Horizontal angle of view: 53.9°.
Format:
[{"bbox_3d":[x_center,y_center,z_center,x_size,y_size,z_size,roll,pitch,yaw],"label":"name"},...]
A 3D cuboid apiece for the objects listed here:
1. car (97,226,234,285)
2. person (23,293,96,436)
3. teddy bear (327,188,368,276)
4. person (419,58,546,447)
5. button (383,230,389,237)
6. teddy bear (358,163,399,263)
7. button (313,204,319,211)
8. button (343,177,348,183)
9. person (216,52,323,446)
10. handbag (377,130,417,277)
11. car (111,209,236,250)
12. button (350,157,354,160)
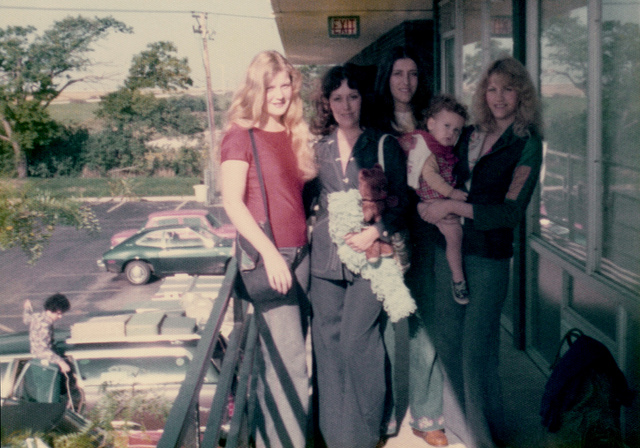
[{"bbox_3d":[-4.246,0.869,17.604,3.846,1.710,0.777,0,19,18],"label":"car"},{"bbox_3d":[-4.599,2.507,11.055,0.781,0.917,2.202,-4,42,-44],"label":"person"},{"bbox_3d":[0.185,0.042,4.219,0.249,0.525,0.212,-6,17,3],"label":"teddy bear"},{"bbox_3d":[1.110,0.233,4.365,0.653,2.635,0.911,9,23,41],"label":"person"},{"bbox_3d":[0.438,0.062,4.218,0.034,0.034,0.009,10,-7,-16],"label":"button"},{"bbox_3d":[0.335,-0.086,4.282,0.416,0.590,0.343,4,18,-5],"label":"teddy bear"},{"bbox_3d":[-0.027,-0.113,4.334,0.045,0.040,0.018,4,20,31],"label":"button"},{"bbox_3d":[0.171,-0.298,4.238,0.030,0.038,0.010,0,0,5],"label":"button"},{"bbox_3d":[-0.279,0.240,4.244,0.518,2.692,0.607,-1,18,18],"label":"person"},{"bbox_3d":[0.530,-0.102,4.380,0.234,1.071,0.199,-7,2,36],"label":"handbag"},{"bbox_3d":[-4.046,0.172,17.445,2.473,0.750,0.978,-2,18,-3],"label":"car"},{"bbox_3d":[0.212,-0.441,4.237,0.021,0.018,0.006,-2,-11,15],"label":"button"}]
